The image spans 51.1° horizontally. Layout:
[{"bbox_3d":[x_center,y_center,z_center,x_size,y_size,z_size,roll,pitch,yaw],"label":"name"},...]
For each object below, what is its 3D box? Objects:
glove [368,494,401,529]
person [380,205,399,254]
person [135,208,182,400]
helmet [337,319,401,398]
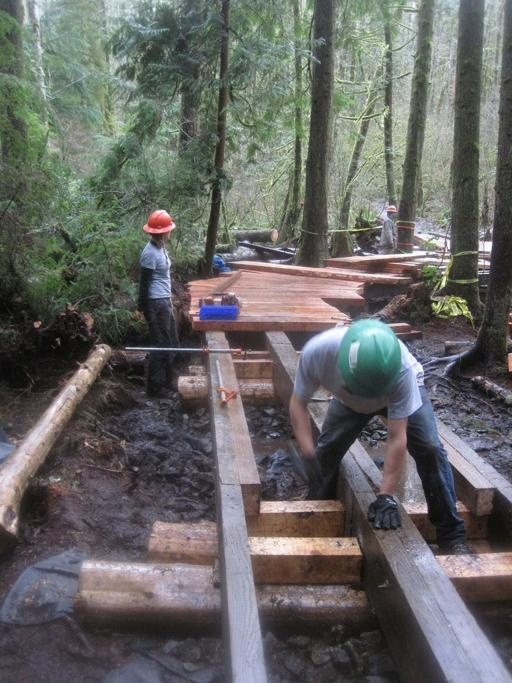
[{"bbox_3d":[0.611,0.805,2.535,0.143,0.105,0.171,3,15,0],"label":"glove"},{"bbox_3d":[3.373,-2.785,13.410,0.391,1.114,1.573,6,16,12],"label":"person"},{"bbox_3d":[-1.019,-0.384,5.640,0.394,1.900,0.642,0,16,-9],"label":"person"},{"bbox_3d":[0.520,0.035,2.403,0.311,0.229,0.414,-3,49,8],"label":"helmet"}]
